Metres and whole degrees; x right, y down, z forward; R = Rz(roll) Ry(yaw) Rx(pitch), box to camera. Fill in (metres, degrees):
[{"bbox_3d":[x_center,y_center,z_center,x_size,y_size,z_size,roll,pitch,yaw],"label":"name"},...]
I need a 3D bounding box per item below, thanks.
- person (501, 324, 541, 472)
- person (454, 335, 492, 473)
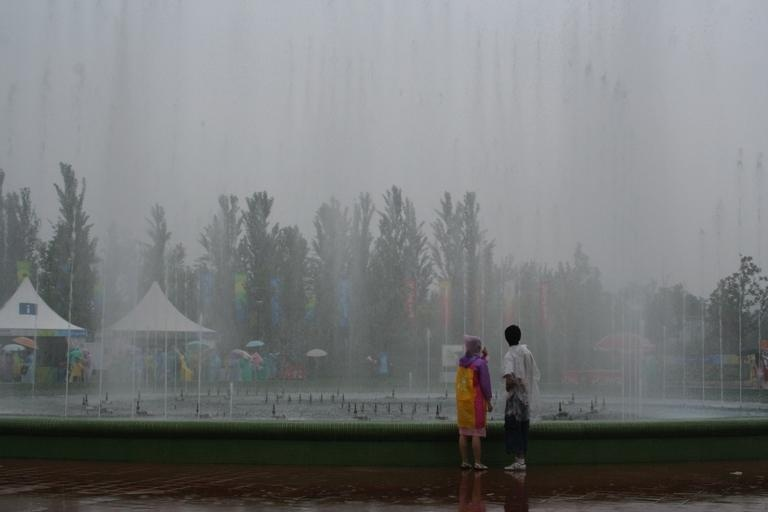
[{"bbox_3d":[2.493,2.596,26.947,0.592,2.572,0.679,1,7,5],"label":"person"},{"bbox_3d":[1.621,2.686,26.834,0.616,2.415,0.423,1,7,4],"label":"person"}]
